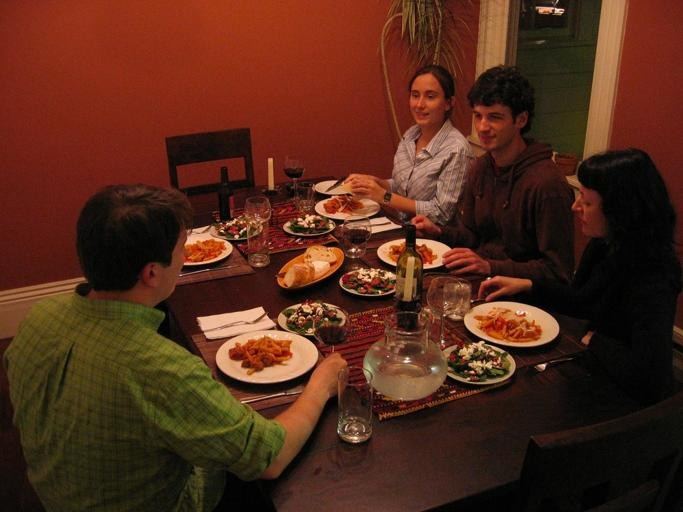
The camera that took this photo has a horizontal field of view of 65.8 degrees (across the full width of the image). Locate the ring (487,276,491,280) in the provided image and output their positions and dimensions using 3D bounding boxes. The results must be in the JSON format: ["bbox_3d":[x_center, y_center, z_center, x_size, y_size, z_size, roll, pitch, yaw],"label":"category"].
[{"bbox_3d":[0.637,0.093,2.300,0.017,0.006,0.018,-9,12,2],"label":"ring"}]

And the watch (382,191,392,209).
[{"bbox_3d":[0.261,-0.336,3.074,0.048,0.067,0.065,11,67,3],"label":"watch"}]

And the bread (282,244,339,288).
[{"bbox_3d":[-0.131,0.042,2.298,0.143,0.079,0.261,0,22,25],"label":"bread"}]

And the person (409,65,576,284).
[{"bbox_3d":[0.760,-0.388,2.708,0.697,1.086,0.946,-6,15,-16],"label":"person"}]

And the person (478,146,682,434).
[{"bbox_3d":[0.806,-0.062,2.153,0.767,1.463,0.701,1,17,10],"label":"person"}]

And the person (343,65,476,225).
[{"bbox_3d":[0.416,-0.536,3.312,0.668,1.193,0.713,-16,28,-29],"label":"person"}]
